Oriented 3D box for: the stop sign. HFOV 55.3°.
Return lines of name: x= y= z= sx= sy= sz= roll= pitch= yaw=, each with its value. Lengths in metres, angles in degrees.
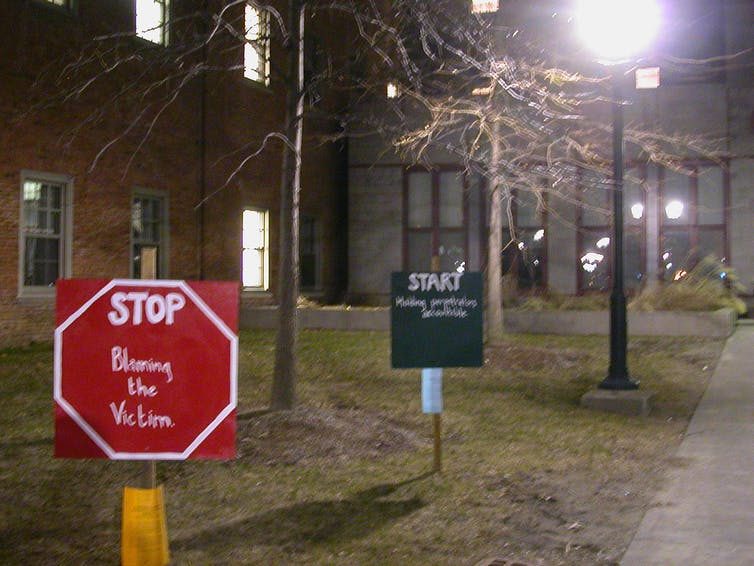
stop sign: x=-1.535 y=0.571 z=4.706 sx=1.469 sy=1.154 sz=0.085 roll=0 pitch=0 yaw=-1
